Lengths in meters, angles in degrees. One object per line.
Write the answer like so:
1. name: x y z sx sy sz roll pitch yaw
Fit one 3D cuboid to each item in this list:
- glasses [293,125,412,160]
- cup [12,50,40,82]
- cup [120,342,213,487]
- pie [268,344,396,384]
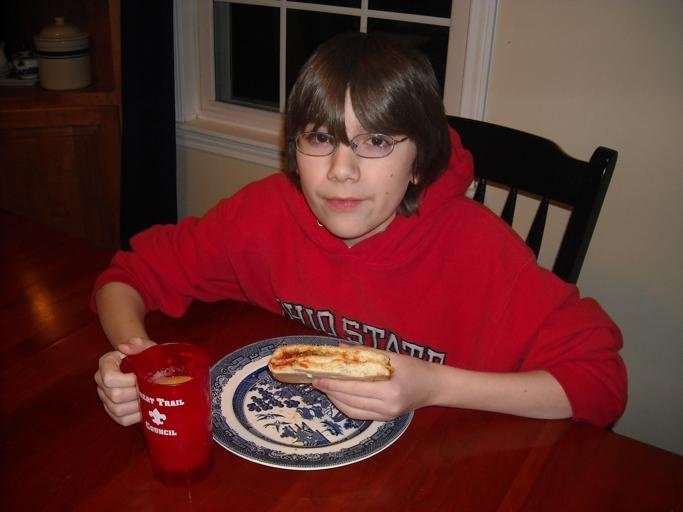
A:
1. glasses: 0.020 -0.250 1.135 0.252 0.080 0.065 10 27 3
2. cup: -1.609 -0.971 2.556 0.099 0.122 0.129 7 37 1
3. cup: -0.296 0.251 0.832 0.168 0.202 0.114 9 21 21
4. pie: -0.026 0.187 0.864 0.185 0.064 0.093 7 -11 -5
